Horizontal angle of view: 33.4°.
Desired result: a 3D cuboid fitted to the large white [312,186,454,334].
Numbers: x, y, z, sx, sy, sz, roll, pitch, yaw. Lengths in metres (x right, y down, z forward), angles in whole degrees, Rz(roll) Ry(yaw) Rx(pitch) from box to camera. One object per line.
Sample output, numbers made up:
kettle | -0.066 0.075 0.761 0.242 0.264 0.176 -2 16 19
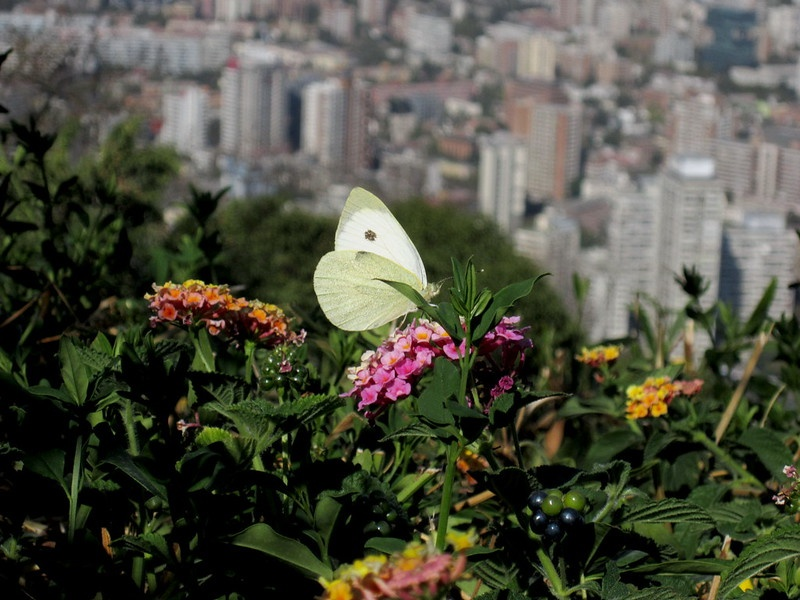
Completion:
large white | -0.054 -0.081 4.649 0.418 0.345 0.502 8 -27 -11

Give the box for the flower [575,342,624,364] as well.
flower | 0.649 0.186 4.435 0.084 0.044 0.088 -11 0 -25

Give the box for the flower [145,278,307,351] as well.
flower | -0.514 0.039 3.888 0.303 0.103 0.217 21 2 -22

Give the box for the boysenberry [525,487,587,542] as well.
boysenberry | 0.427 0.572 3.544 0.114 0.092 0.145 5 -10 -12
